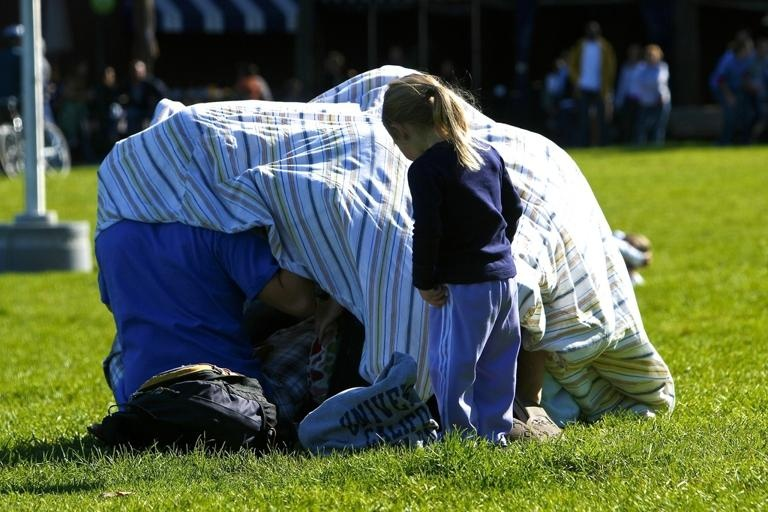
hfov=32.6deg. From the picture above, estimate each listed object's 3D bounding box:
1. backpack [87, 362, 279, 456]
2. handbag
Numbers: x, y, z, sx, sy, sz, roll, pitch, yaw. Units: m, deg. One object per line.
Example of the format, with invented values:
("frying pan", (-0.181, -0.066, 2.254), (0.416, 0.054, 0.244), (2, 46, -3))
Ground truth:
("backpack", (-1.580, 1.263, 10.670), (0.954, 0.506, 0.817), (3, -5, -7))
("handbag", (-0.175, 1.149, 10.486), (0.901, 0.463, 0.732), (-3, 2, 36))
